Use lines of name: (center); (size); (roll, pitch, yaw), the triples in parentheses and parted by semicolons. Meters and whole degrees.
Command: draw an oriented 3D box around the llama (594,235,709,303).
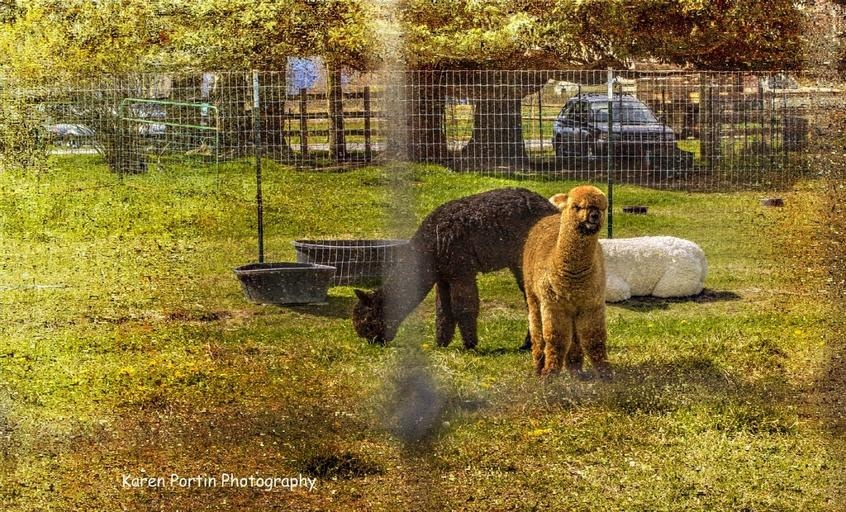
llama: (4.660, 0.245, 35.202); (1.952, 0.949, 1.174); (0, 0, -3)

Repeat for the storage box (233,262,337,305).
storage box: (-2.852, 0.577, 35.242); (2.194, 0.706, 1.647); (-2, 5, -11)

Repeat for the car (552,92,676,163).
car: (4.479, -2.997, 41.043); (2.008, 2.034, 5.328); (0, 1, -7)

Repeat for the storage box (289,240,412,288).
storage box: (-1.601, 0.089, 35.652); (1.687, 0.550, 1.166); (-1, 2, 0)

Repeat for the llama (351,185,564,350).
llama: (0.767, 0.322, 33.436); (4.368, 3.053, 1.337); (-10, 14, -11)
